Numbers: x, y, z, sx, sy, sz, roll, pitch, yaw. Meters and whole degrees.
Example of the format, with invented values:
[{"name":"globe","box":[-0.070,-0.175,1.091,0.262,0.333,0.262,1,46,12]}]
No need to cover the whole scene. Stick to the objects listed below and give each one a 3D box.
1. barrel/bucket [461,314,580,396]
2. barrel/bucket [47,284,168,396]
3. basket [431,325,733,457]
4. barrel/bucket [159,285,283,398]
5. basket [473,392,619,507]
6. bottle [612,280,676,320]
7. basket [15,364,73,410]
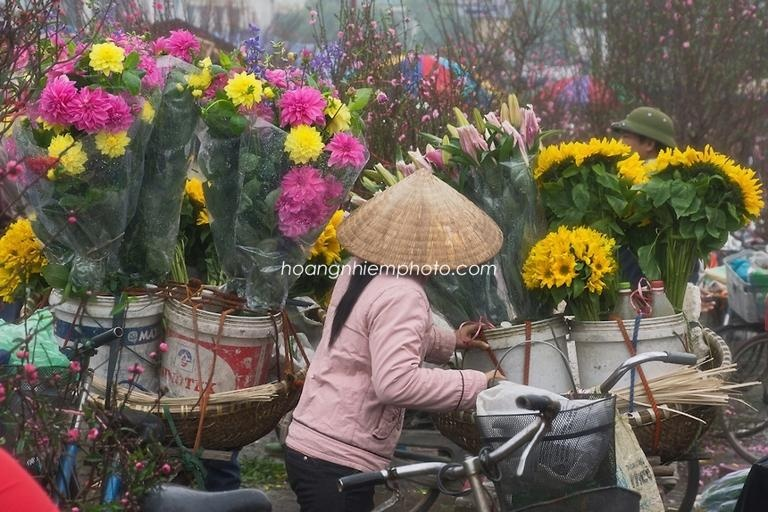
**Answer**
[{"name":"barrel/bucket","box":[0.815,0.560,6.018,0.438,0.447,0.467,-3,-9,0]},{"name":"barrel/bucket","box":[-1.561,0.442,6.081,0.592,0.680,0.624,2,-5,0]},{"name":"basket","box":[0.870,0.741,6.080,1.032,0.372,1.091,-18,-37,26]},{"name":"barrel/bucket","box":[-0.963,0.470,6.240,0.564,0.596,0.585,3,3,0]},{"name":"basket","box":[0.837,0.925,5.426,0.615,0.473,0.524,-9,-8,2]},{"name":"bottle","box":[1.493,0.273,6.162,0.352,0.345,0.206,0,-14,-1]},{"name":"basket","box":[-1.704,0.643,5.331,0.283,0.223,0.486,0,-2,-18]}]
